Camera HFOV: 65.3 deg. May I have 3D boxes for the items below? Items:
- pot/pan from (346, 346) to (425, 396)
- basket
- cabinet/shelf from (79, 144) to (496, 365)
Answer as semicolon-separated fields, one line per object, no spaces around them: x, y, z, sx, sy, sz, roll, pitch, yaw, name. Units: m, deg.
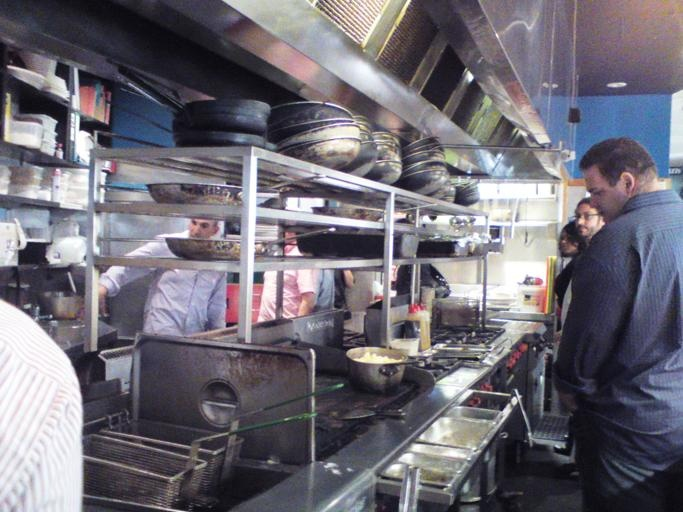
0.132;0.426;2.013;0.146;0.073;0.229;4;-4;-42;pot/pan
-0.429;0.436;1.267;0.246;0.073;0.248;4;0;26;basket
-0.195;0.003;2.579;0.576;0.562;1.879;-2;-3;27;cabinet/shelf
